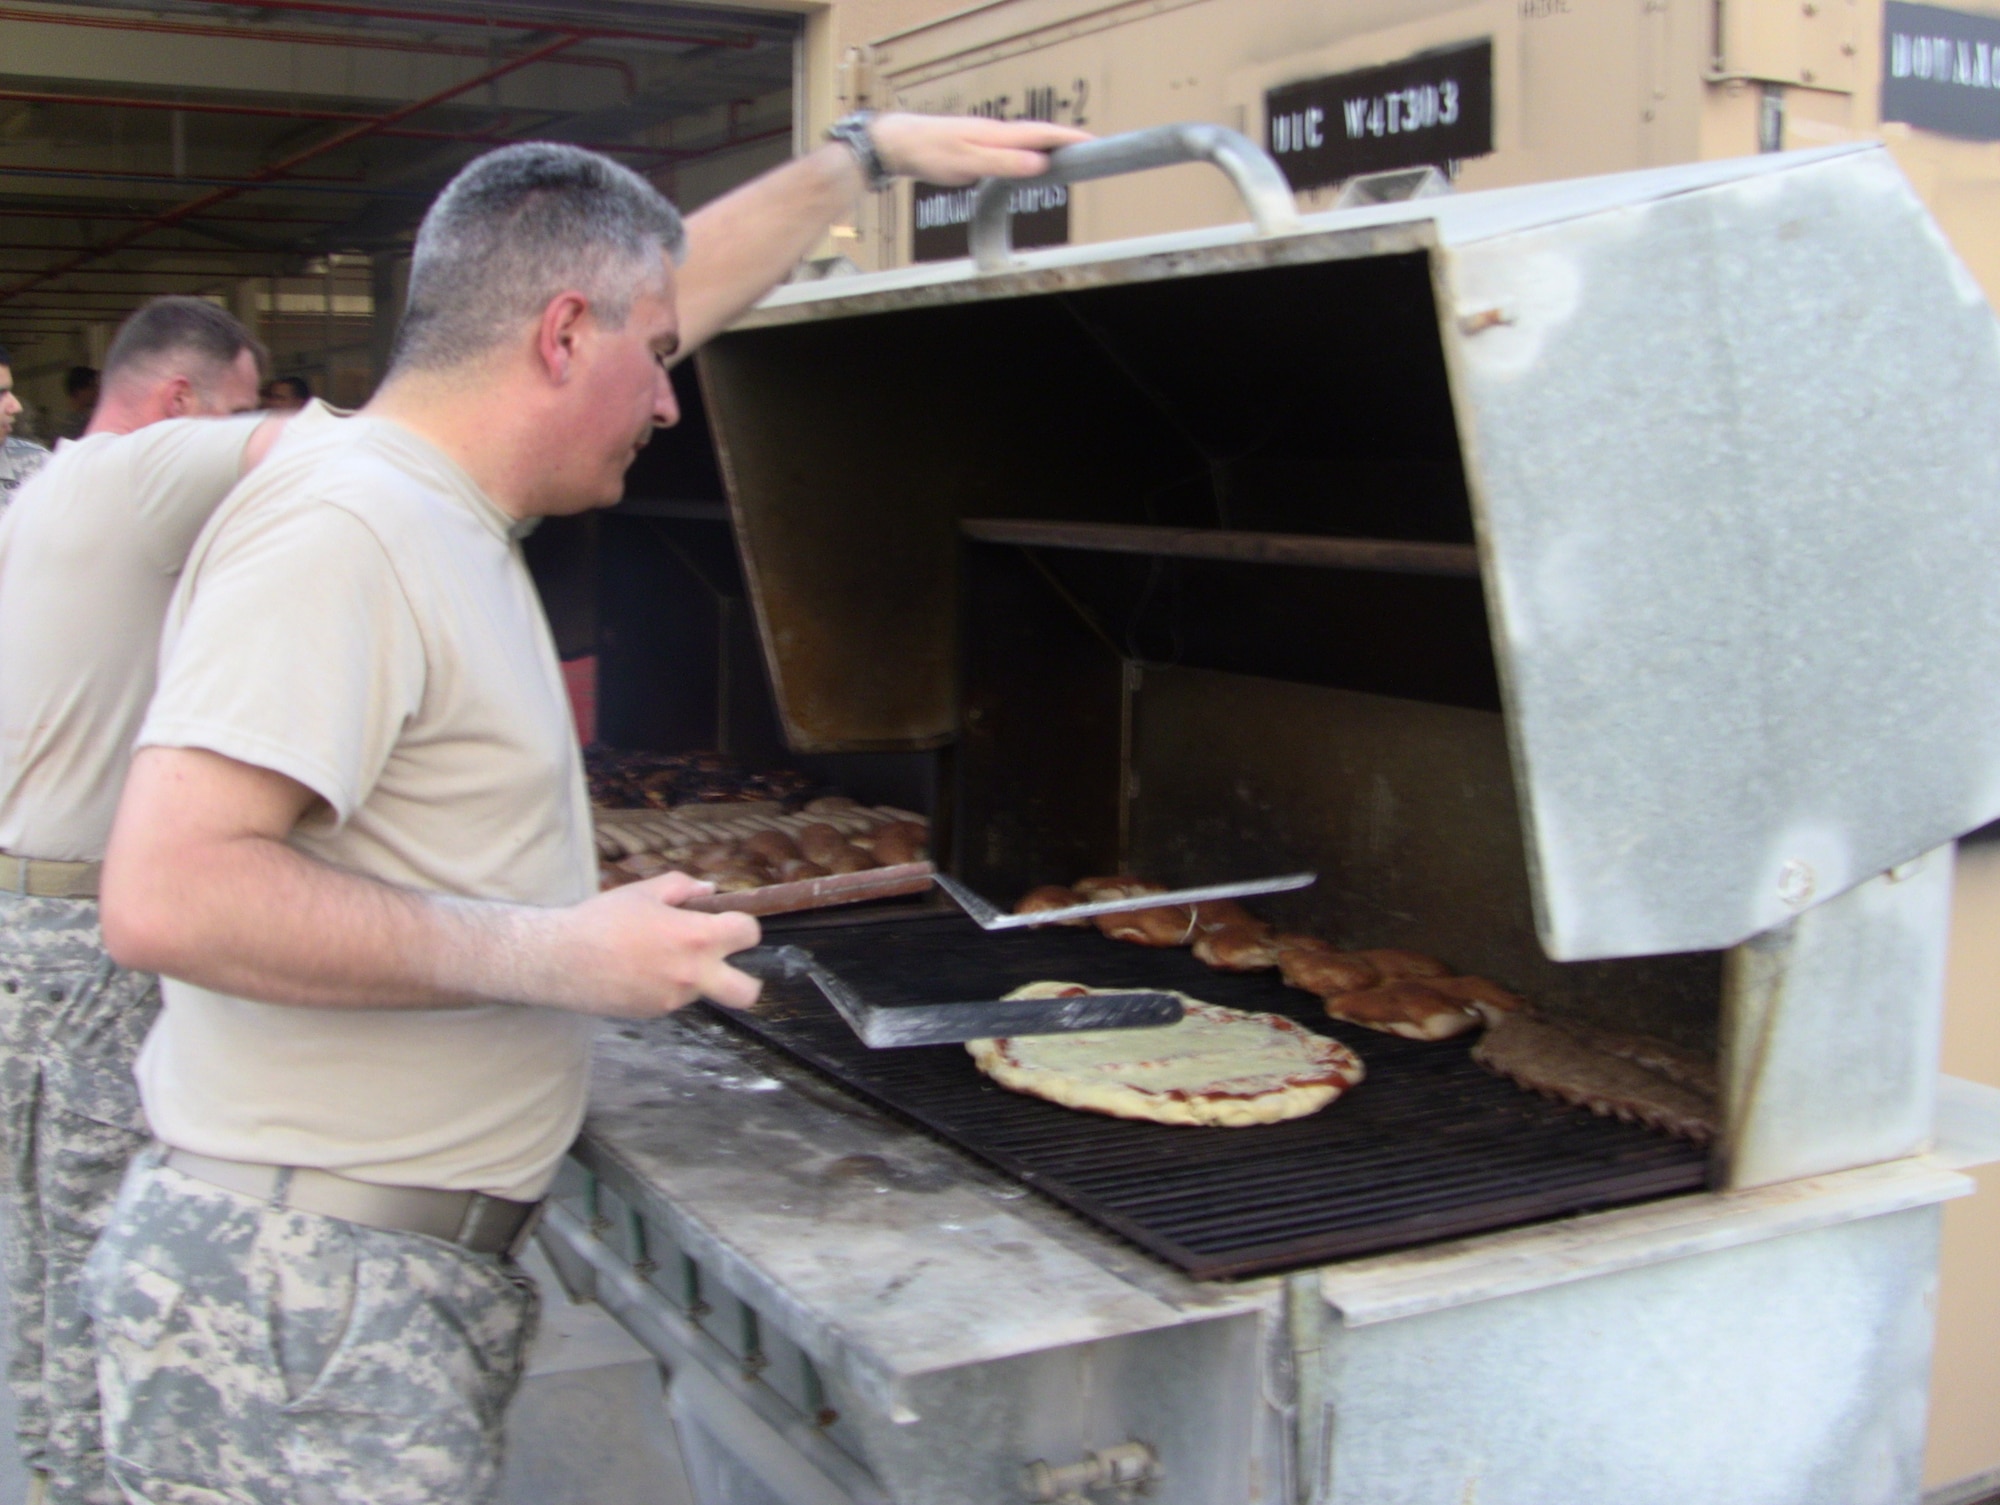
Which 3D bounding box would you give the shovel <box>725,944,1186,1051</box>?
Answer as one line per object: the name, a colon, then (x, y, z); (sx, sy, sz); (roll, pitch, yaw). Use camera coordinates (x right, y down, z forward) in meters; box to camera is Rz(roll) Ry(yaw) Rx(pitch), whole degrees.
shovel: (-0.090, 0.314, 2.418); (0.471, 0.119, 0.107); (-2, 26, 2)
